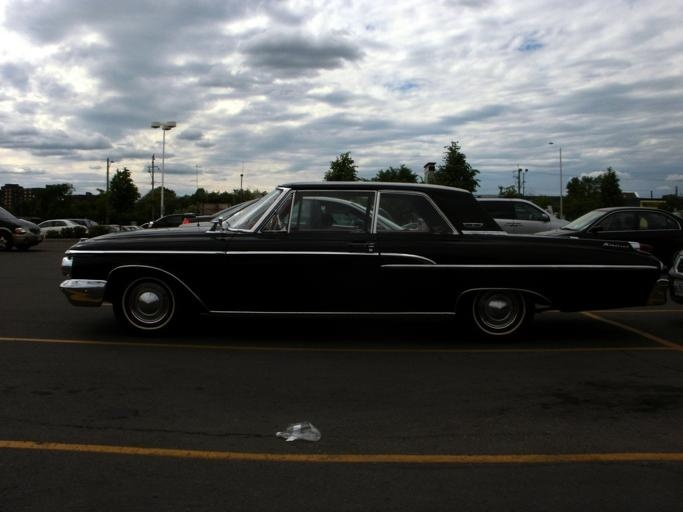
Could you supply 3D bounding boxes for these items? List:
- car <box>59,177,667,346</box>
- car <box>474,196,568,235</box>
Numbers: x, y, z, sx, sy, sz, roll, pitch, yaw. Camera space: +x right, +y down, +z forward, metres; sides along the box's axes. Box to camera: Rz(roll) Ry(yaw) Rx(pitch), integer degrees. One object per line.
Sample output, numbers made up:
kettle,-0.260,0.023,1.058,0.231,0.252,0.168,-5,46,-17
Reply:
car,0.032,0.085,8.101,7.122,1.465,2.738,1,-2,1
car,5.317,-1.085,17.319,2.914,1.087,1.406,-2,10,-3
